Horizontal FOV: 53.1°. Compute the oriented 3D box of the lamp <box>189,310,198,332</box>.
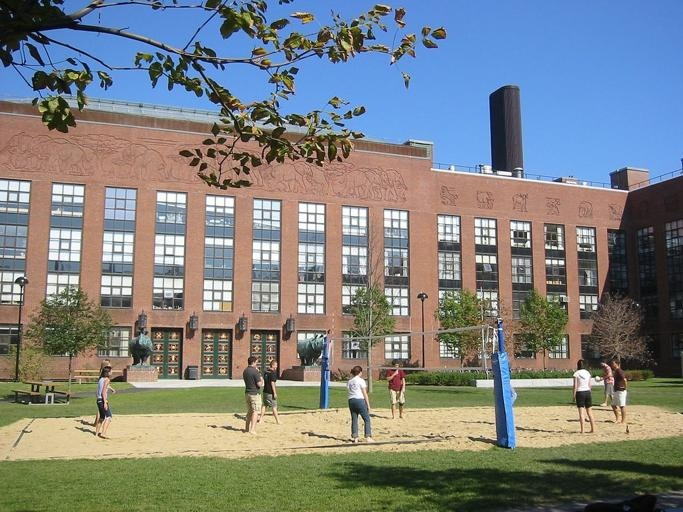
[{"bbox_3d":[-10.456,4.711,48.224,0.799,1.541,0.737,1,-12,-14],"label":"lamp"}]

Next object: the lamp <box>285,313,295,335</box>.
[{"bbox_3d":[-3.770,5.088,50.393,0.736,1.504,0.726,-8,-13,29],"label":"lamp"}]

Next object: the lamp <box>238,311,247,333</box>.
[{"bbox_3d":[-7.064,4.866,49.051,1.005,1.783,0.865,-1,-1,-2],"label":"lamp"}]

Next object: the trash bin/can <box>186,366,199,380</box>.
[{"bbox_3d":[-10.392,8.197,47.847,1.304,1.145,0.759,2,-10,-15],"label":"trash bin/can"}]

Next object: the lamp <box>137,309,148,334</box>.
[{"bbox_3d":[-13.688,4.450,46.792,0.726,1.584,1.073,2,-12,-18],"label":"lamp"}]
